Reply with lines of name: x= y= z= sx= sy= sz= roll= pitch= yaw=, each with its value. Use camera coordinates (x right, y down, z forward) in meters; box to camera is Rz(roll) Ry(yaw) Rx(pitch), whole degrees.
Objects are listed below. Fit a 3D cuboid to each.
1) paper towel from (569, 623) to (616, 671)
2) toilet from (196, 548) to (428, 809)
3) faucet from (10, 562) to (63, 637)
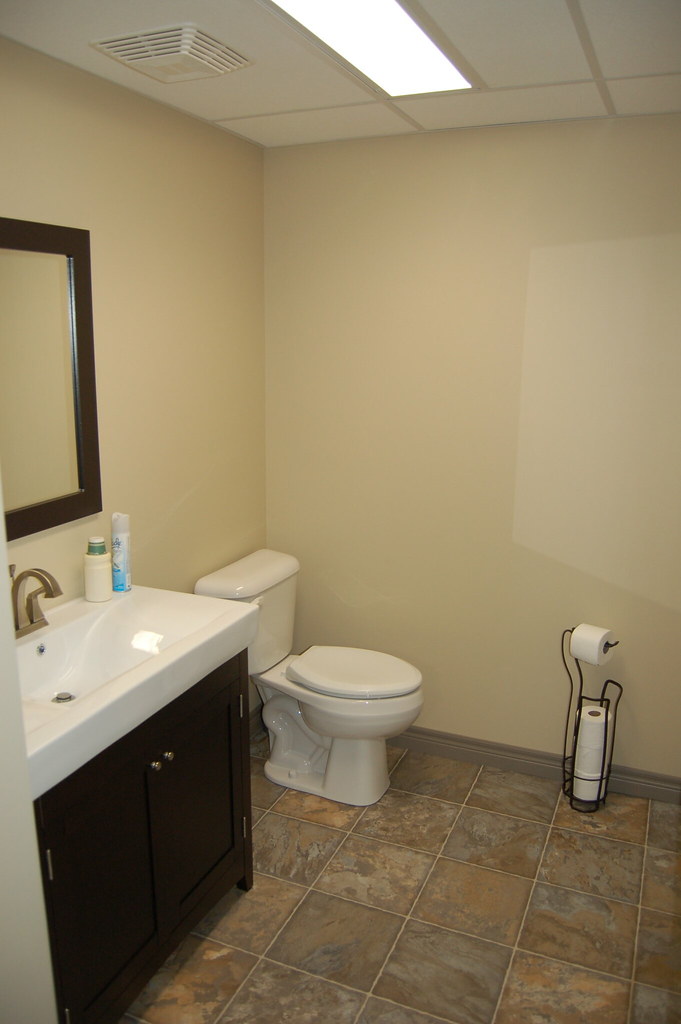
paper towel: x=0.830 y=0.411 z=2.433 sx=0.149 sy=0.143 sz=0.119 roll=8 pitch=18 yaw=34
toilet: x=-0.059 y=0.604 z=2.604 sx=0.698 sy=0.804 sz=0.476 roll=5 pitch=16 yaw=24
faucet: x=-0.693 y=0.188 z=1.645 sx=0.087 sy=0.149 sz=0.204 roll=-5 pitch=10 yaw=-29
